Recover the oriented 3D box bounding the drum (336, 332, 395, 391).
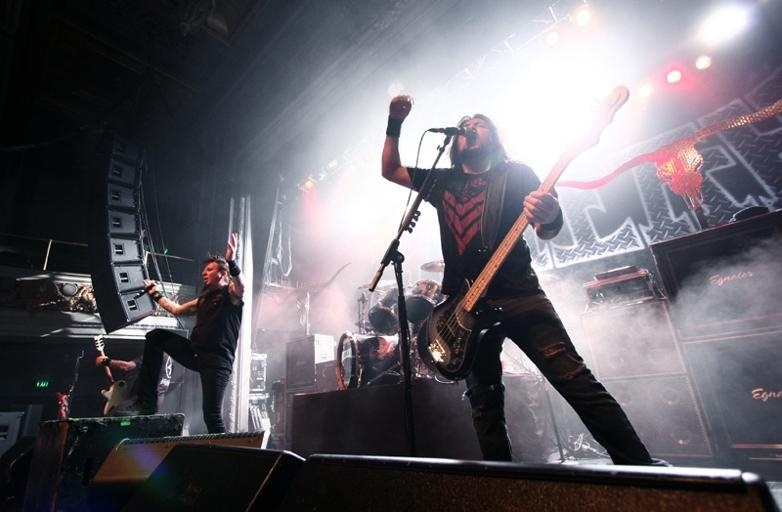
[{"bbox_3d":[-0.345,1.373,5.782,0.877,0.588,0.459,5,-6,-29],"label":"drum"}]

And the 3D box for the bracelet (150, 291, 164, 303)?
[{"bbox_3d":[-2.925,0.515,5.443,0.113,0.086,0.118,-5,-6,-22],"label":"bracelet"}]

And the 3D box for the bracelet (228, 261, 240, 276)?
[{"bbox_3d":[-1.820,0.142,5.024,0.216,0.085,0.100,-17,-40,8],"label":"bracelet"}]

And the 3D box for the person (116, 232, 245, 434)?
[{"bbox_3d":[-2.275,0.872,5.072,1.209,2.290,0.623,-8,-19,6],"label":"person"}]

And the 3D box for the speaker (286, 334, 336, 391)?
[{"bbox_3d":[-1.400,1.917,7.680,0.491,0.896,0.857,9,-16,-44],"label":"speaker"}]
